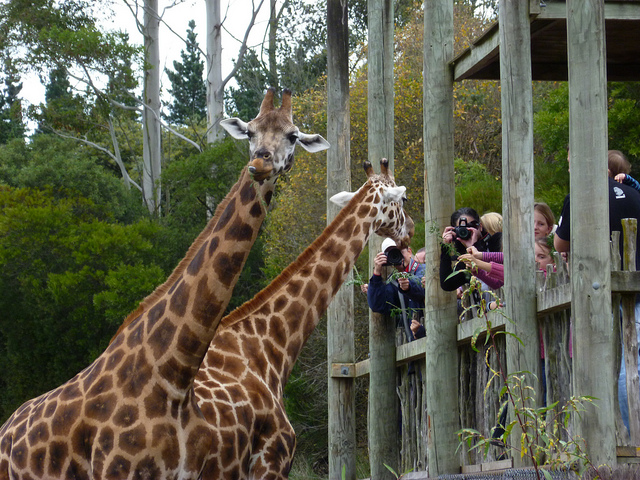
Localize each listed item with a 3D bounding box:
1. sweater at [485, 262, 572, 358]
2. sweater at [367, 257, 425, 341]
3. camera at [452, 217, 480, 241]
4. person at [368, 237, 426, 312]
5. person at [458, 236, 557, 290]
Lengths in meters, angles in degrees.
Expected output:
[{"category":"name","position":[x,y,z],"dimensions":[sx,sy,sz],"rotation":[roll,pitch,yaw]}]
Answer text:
[{"category":"sweater","position":[1.940,0.649,9.952],"dimensions":[0.414,0.919,1.122],"rotation":[-2,0,-20]},{"category":"sweater","position":[0.855,0.604,11.813],"dimensions":[0.522,0.911,0.226],"rotation":[-10,7,32]},{"category":"camera","position":[1.451,-0.100,10.585],"dimensions":[0.191,0.266,0.106],"rotation":[-1,9,6]},{"category":"person","position":[0.911,0.482,11.828],"dimensions":[0.486,1.054,0.569],"rotation":[0,5,-6]},{"category":"person","position":[1.784,0.265,10.208],"dimensions":[0.608,0.524,2.206],"rotation":[-3,0,23]}]
